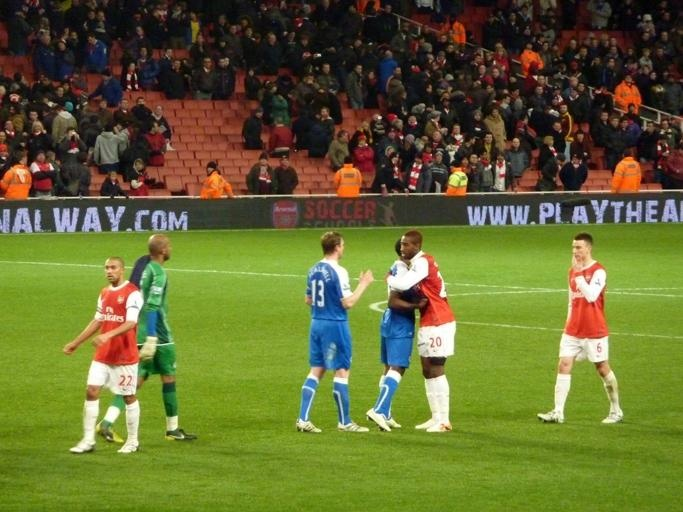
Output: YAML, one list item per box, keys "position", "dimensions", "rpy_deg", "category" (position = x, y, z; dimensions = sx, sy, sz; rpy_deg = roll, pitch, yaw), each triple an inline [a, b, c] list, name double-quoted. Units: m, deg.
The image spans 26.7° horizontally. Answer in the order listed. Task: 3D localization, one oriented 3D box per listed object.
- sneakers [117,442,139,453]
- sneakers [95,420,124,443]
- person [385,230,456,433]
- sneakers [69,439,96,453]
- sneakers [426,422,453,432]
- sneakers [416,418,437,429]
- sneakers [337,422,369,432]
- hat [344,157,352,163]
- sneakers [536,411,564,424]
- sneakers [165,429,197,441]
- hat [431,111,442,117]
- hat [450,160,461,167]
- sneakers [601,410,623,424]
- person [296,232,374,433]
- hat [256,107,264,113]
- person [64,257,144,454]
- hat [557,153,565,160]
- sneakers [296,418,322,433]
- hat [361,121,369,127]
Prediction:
- position: [-2.936, 2.655, 19.895]
  dimensions: [0.247, 0.102, 0.129]
  rpy_deg: [4, 1, 6]
  category: "sneakers"
- position: [-3.280, 2.497, 20.321]
  dimensions: [0.120, 0.358, 0.148]
  rpy_deg: [-39, 37, -4]
  category: "sneakers"
- position: [1.200, 1.096, 20.842]
  dimensions: [0.900, 2.887, 0.639]
  rpy_deg: [2, 11, 5]
  category: "person"
- position: [-3.573, 2.619, 19.847]
  dimensions: [0.316, 0.135, 0.164]
  rpy_deg: [1, -1, 5]
  category: "sneakers"
- position: [1.419, 2.490, 20.852]
  dimensions: [0.379, 0.163, 0.130]
  rpy_deg: [3, 2, -2]
  category: "sneakers"
- position: [1.277, 2.453, 21.011]
  dimensions: [0.357, 0.157, 0.123]
  rpy_deg: [-5, 3, 10]
  category: "sneakers"
- position: [0.175, 2.487, 20.788]
  dimensions: [0.440, 0.167, 0.161]
  rpy_deg: [-2, 1, 4]
  category: "sneakers"
- position: [0.205, -2.801, 41.695]
  dimensions: [0.175, 0.168, 0.177]
  rpy_deg: [-1, 5, 2]
  category: "hat"
- position: [3.116, 2.397, 21.381]
  dimensions: [0.431, 0.199, 0.157]
  rpy_deg: [3, 1, 3]
  category: "sneakers"
- position: [-2.257, 2.537, 20.440]
  dimensions: [0.449, 0.193, 0.163]
  rpy_deg: [1, 1, -2]
  category: "sneakers"
- position: [2.915, -4.402, 44.392]
  dimensions: [0.208, 0.208, 0.467]
  rpy_deg: [6, 11, 22]
  category: "hat"
- position: [3.493, -2.820, 43.836]
  dimensions: [0.200, 0.229, 0.229]
  rpy_deg: [4, 3, 7]
  category: "hat"
- position: [4.069, 2.394, 21.400]
  dimensions: [0.399, 0.169, 0.137]
  rpy_deg: [-5, 1, -37]
  category: "sneakers"
- position: [-0.135, 1.140, 20.694]
  dimensions: [0.968, 2.920, 0.936]
  rpy_deg: [-4, 12, -27]
  category: "person"
- position: [-2.484, -4.459, 43.777]
  dimensions: [0.161, 0.164, 0.216]
  rpy_deg: [-1, -1, -31]
  category: "hat"
- position: [-3.203, 1.366, 19.871]
  dimensions: [0.934, 2.665, 0.727]
  rpy_deg: [0, 11, -9]
  category: "person"
- position: [6.800, -3.059, 44.414]
  dimensions: [0.198, 0.224, 0.560]
  rpy_deg: [4, 11, 13]
  category: "hat"
- position: [-0.492, 2.455, 20.828]
  dimensions: [0.426, 0.192, 0.154]
  rpy_deg: [3, 14, -9]
  category: "sneakers"
- position: [0.756, -4.047, 43.768]
  dimensions: [0.217, 0.238, 0.286]
  rpy_deg: [0, -1, -13]
  category: "hat"
